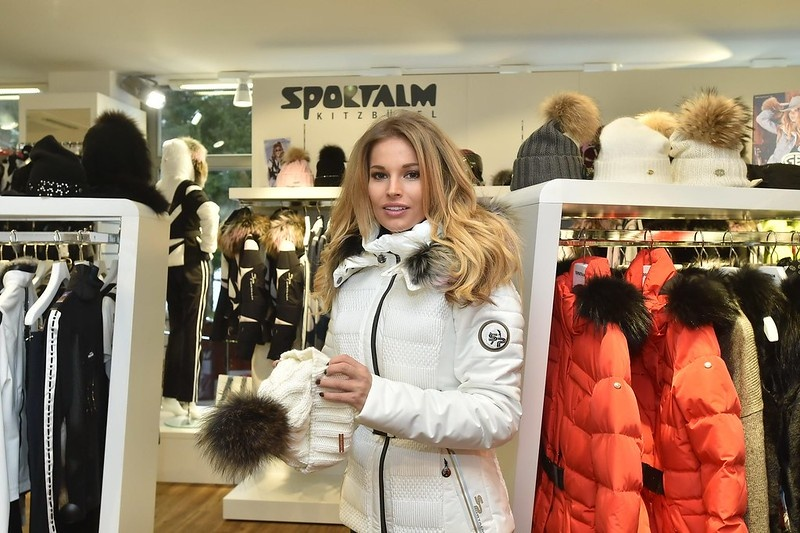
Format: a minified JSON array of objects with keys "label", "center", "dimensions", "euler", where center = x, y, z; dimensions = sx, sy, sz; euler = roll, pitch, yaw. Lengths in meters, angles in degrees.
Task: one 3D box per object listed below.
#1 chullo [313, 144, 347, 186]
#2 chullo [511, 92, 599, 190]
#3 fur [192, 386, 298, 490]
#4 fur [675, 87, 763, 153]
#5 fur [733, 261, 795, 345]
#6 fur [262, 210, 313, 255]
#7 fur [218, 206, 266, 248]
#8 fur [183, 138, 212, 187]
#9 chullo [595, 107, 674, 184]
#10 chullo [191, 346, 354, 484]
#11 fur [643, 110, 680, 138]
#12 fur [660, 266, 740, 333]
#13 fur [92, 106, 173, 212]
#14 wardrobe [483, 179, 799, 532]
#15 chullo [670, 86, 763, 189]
[{"label":"chullo","center":[-0.501,-0.686,5.427],"dimensions":[0.259,0.353,0.208],"euler":[-3,-6,10]},{"label":"chullo","center":[0.803,-0.620,3.855],"dimensions":[0.404,0.554,0.539],"euler":[-5,15,-27]},{"label":"fur","center":[-0.629,0.691,3.083],"dimensions":[0.335,0.228,0.347],"euler":[-1,28,11]},{"label":"fur","center":[1.565,-0.693,3.684],"dimensions":[0.296,0.308,0.144],"euler":[-4,5,37]},{"label":"fur","center":[1.689,0.169,3.502],"dimensions":[0.252,0.340,0.161],"euler":[-4,-3,-5]},{"label":"fur","center":[-0.793,-0.239,5.253],"dimensions":[0.277,0.322,0.240],"euler":[0,1,12]},{"label":"fur","center":[-1.105,-0.283,5.319],"dimensions":[0.232,0.154,0.310],"euler":[0,37,-6]},{"label":"fur","center":[-1.538,-0.804,5.852],"dimensions":[0.145,0.352,0.272],"euler":[-11,19,-13]},{"label":"chullo","center":[1.197,-0.583,3.879],"dimensions":[0.388,0.382,0.557],"euler":[2,3,8]},{"label":"chullo","center":[-0.486,0.827,3.316],"dimensions":[0.514,0.276,0.673],"euler":[-15,-29,7]},{"label":"fur","center":[1.478,-0.789,4.247],"dimensions":[0.177,0.098,0.215],"euler":[7,3,39]},{"label":"fur","center":[1.378,0.146,3.448],"dimensions":[0.335,0.256,0.156],"euler":[0,1,-10]},{"label":"fur","center":[-1.350,-0.511,3.698],"dimensions":[0.410,0.523,0.294],"euler":[0,1,-16]},{"label":"wardrobe","center":[1.357,0.468,4.156],"dimensions":[2.047,1.952,1.390],"euler":[-1,5,-14]},{"label":"chullo","center":[1.451,-0.621,3.647],"dimensions":[0.399,0.454,0.445],"euler":[0,9,11]}]
